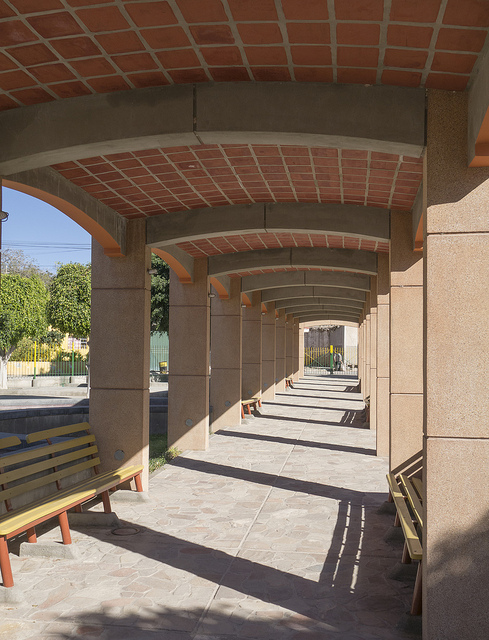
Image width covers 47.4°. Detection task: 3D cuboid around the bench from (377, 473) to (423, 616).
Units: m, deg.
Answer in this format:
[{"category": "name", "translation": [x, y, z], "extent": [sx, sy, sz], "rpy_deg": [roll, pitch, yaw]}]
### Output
[{"category": "bench", "translation": [1.358, 1.960, 4.847], "extent": [0.244, 0.257, 1.066], "rpy_deg": [2, 0, 9]}]

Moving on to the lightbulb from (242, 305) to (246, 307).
[{"category": "lightbulb", "translation": [-0.034, -0.498, 18.599], "extent": [0.094, 0.051, 0.063], "rpy_deg": [-5, -28, 3]}]

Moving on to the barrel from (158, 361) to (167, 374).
[{"category": "barrel", "translation": [-5.161, 2.966, 35.188], "extent": [0.787, 0.783, 0.578], "rpy_deg": [1, -4, -24]}]

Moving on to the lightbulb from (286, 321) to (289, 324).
[{"category": "lightbulb", "translation": [2.235, 0.101, 28.828], "extent": [0.115, 0.111, 0.209], "rpy_deg": [-6, -9, 20]}]

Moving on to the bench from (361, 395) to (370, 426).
[{"category": "bench", "translation": [3.667, 2.753, 16.960], "extent": [0.185, 0.522, 2.790], "rpy_deg": [1, -2, 11]}]
